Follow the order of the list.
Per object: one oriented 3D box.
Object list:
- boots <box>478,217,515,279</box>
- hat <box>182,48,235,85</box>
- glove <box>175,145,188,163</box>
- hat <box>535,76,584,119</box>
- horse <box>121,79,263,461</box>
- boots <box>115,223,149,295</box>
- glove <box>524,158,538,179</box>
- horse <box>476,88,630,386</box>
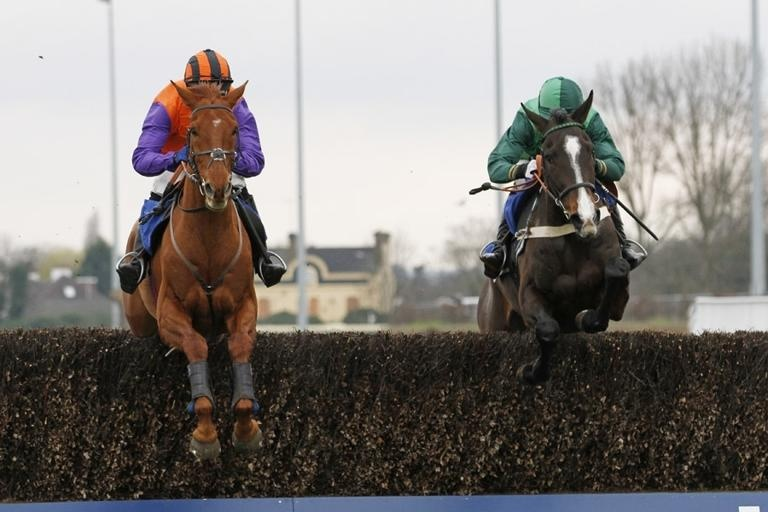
[{"bbox_3d":[1.597,-0.040,25.807,0.342,0.360,0.967,31,20,0],"label":"boots"},{"bbox_3d":[-2.485,-2.546,25.009,0.718,0.607,1.008,0,2,-22],"label":"hat"},{"bbox_3d":[-2.782,-1.358,24.254,0.143,0.228,0.386,-1,2,-15],"label":"glove"},{"bbox_3d":[2.518,-2.194,25.922,0.637,0.769,0.878,3,10,-7],"label":"hat"},{"bbox_3d":[-2.597,0.210,24.477,1.841,5.145,1.035,0,1,44],"label":"horse"},{"bbox_3d":[-3.398,0.105,24.895,0.451,1.024,0.343,3,-10,16],"label":"boots"},{"bbox_3d":[2.086,-1.217,25.350,0.089,0.223,0.213,7,-5,-31],"label":"glove"},{"bbox_3d":[2.351,-0.273,25.249,1.479,3.985,2.155,-1,1,-33],"label":"horse"}]
